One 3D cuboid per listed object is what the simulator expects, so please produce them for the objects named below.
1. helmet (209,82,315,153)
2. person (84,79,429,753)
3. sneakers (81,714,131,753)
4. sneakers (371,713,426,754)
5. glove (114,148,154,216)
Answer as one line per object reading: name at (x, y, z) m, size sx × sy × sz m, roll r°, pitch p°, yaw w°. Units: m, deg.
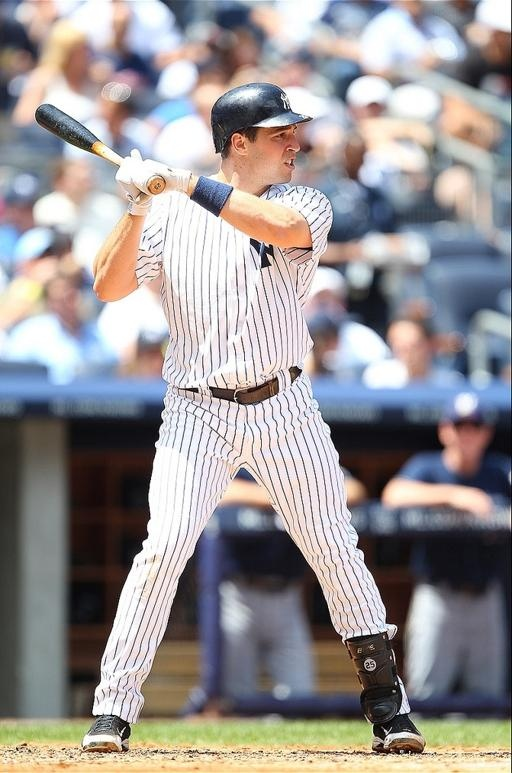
helmet at (0.025, -0.667, 3.175) m, size 0.283 × 0.125 × 0.199 m, roll -3°, pitch 17°, yaw 39°
person at (-0.071, 0.080, 3.077) m, size 0.768 × 1.592 × 0.379 m, roll -5°, pitch 3°, yaw -8°
sneakers at (-0.337, 0.781, 2.955) m, size 0.101 × 0.095 × 0.135 m, roll -4°, pitch 3°, yaw 4°
sneakers at (0.327, 0.811, 3.071) m, size 0.129 × 0.098 × 0.107 m, roll -3°, pitch 3°, yaw 11°
glove at (-0.272, -0.457, 2.977) m, size 0.077 × 0.142 × 0.123 m, roll -5°, pitch 3°, yaw -11°
